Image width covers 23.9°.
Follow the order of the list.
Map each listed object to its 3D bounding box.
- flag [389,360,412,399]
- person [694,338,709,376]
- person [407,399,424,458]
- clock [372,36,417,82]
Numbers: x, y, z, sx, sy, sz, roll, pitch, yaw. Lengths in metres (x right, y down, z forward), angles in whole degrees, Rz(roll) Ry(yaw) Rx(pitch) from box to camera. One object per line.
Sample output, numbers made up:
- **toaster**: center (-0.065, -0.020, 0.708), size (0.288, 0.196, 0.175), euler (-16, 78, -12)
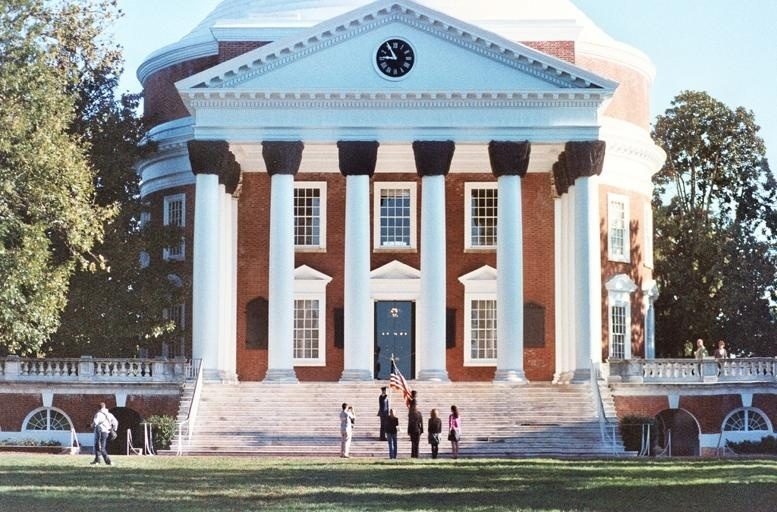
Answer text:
- **flag**: center (0.407, 5.493, 80.951), size (1.026, 2.798, 0.218), euler (7, -53, -12)
- **person**: center (15.031, 4.887, 88.122), size (0.724, 2.409, 1.168), euler (2, -8, 1)
- **person**: center (1.112, 7.408, 78.451), size (0.589, 2.449, 1.120), euler (0, -15, 0)
- **clock**: center (0.221, -8.974, 85.832), size (1.665, 1.645, 0.128), euler (-21, 5, 4)
